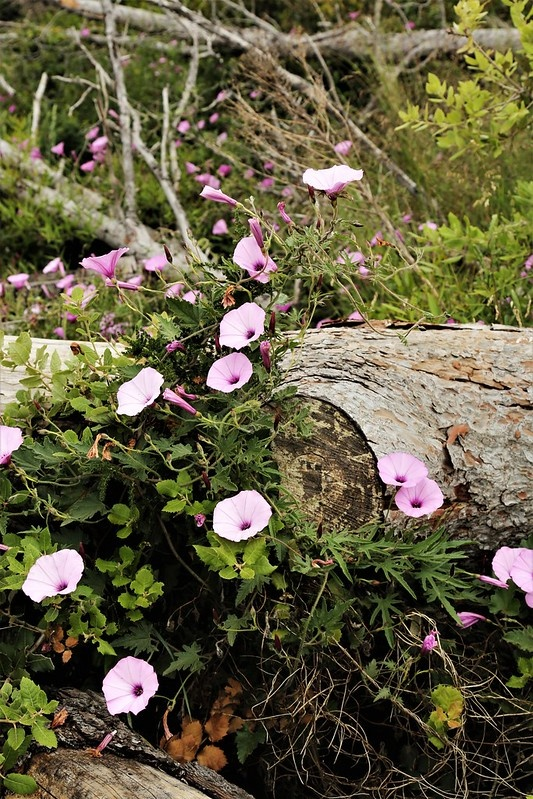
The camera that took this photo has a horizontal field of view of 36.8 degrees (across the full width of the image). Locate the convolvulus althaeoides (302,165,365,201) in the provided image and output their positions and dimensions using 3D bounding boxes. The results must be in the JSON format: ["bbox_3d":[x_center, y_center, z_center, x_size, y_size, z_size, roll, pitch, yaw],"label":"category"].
[{"bbox_3d":[0.171,-0.543,2.065,0.146,0.105,0.164,11,18,44],"label":"convolvulus althaeoides"}]

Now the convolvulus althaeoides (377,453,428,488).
[{"bbox_3d":[0.336,0.176,2.011,0.072,0.068,0.115,-12,28,-38],"label":"convolvulus althaeoides"}]

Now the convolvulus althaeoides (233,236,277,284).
[{"bbox_3d":[-0.033,-0.348,1.996,0.104,0.117,0.079,17,25,24],"label":"convolvulus althaeoides"}]

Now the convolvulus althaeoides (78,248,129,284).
[{"bbox_3d":[-0.428,-0.355,2.089,0.100,0.103,0.166,1,22,-13],"label":"convolvulus althaeoides"}]

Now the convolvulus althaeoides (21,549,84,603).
[{"bbox_3d":[-0.495,0.407,1.845,0.129,0.104,0.115,-1,23,-17],"label":"convolvulus althaeoides"}]

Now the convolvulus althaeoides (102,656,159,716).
[{"bbox_3d":[-0.326,0.677,1.876,0.109,0.123,0.109,-4,25,-23],"label":"convolvulus althaeoides"}]

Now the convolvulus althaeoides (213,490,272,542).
[{"bbox_3d":[-0.057,0.271,1.838,0.090,0.096,0.133,14,26,32],"label":"convolvulus althaeoides"}]

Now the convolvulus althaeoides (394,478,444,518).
[{"bbox_3d":[0.389,0.250,2.034,0.125,0.100,0.058,-7,-23,12],"label":"convolvulus althaeoides"}]

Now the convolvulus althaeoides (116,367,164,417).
[{"bbox_3d":[-0.314,-0.017,1.931,0.122,0.066,0.122,0,52,47],"label":"convolvulus althaeoides"}]

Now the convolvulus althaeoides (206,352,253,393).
[{"bbox_3d":[-0.093,-0.064,1.959,0.111,0.092,0.042,-17,-24,9],"label":"convolvulus althaeoides"}]
